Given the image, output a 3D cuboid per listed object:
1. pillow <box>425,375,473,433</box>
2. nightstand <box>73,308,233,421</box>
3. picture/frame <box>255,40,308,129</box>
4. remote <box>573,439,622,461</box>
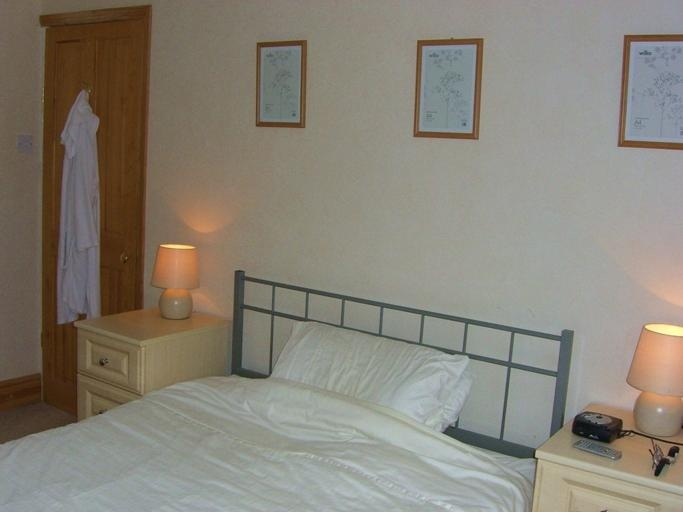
[{"bbox_3d":[0.494,0.664,2.575,0.153,0.271,0.065,19,-21,48],"label":"pillow"},{"bbox_3d":[-1.134,0.541,3.382,0.678,0.695,0.616,3,3,-44],"label":"nightstand"},{"bbox_3d":[-0.331,-0.942,3.127,0.334,0.453,0.041,10,11,32],"label":"picture/frame"},{"bbox_3d":[0.976,0.740,2.175,0.108,0.020,0.064,6,9,37],"label":"remote"}]
